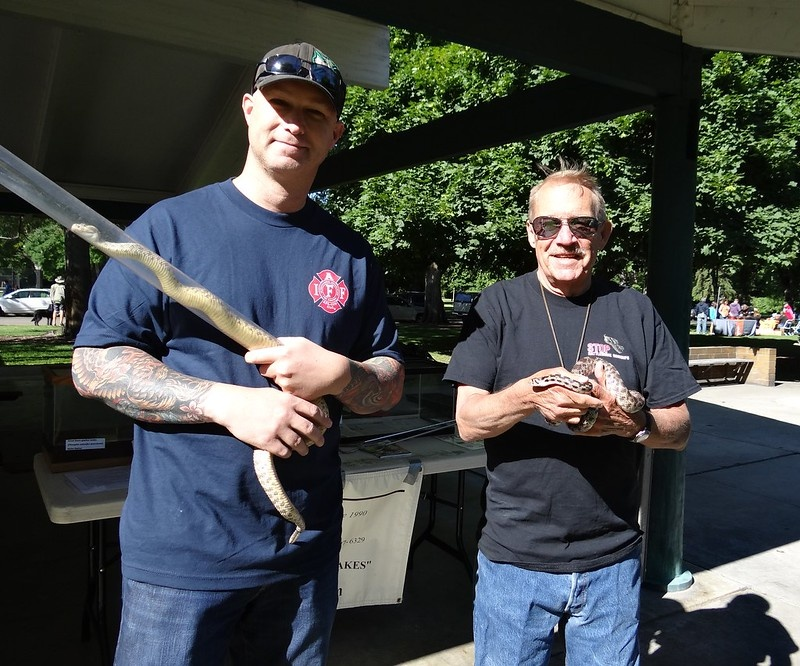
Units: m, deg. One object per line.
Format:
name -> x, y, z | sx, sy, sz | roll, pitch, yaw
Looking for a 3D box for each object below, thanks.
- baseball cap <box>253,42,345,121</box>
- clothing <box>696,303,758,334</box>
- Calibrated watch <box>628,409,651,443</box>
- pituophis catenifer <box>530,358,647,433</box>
baseball cap -> -0.330, -0.830, 2.275 | 0.282, 0.203, 0.358 | 8, 9, -13
clothing -> 12.535, -0.484, 27.702 | 1.620, 1.188, 4.234 | 5, 5, 13
Calibrated watch -> 0.887, 0.338, 2.585 | 0.044, 0.101, 0.111 | 9, 7, 40
pituophis catenifer -> 0.641, 0.222, 2.506 | 0.410, 0.249, 0.217 | 1, 6, -34
